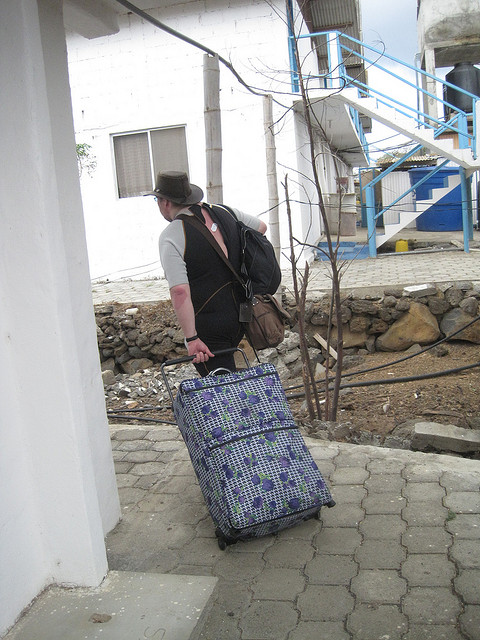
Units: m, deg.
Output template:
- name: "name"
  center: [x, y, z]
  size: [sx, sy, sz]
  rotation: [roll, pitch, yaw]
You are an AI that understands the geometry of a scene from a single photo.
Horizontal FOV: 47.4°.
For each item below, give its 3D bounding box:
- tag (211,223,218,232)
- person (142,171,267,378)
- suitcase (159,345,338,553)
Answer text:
- name: "tag"
  center: [-0.157, -0.553, 3.256]
  size: [0.030, 0.054, 0.059]
  rotation: [-5, 7, 8]
- name: "person"
  center: [-0.225, -0.284, 3.263]
  size: [0.486, 1.258, 0.832]
  rotation: [-6, 7, 5]
- name: "suitcase"
  center: [-0.095, 0.646, 2.917]
  size: [0.728, 1.135, 0.344]
  rotation: [-15, -28, -23]
